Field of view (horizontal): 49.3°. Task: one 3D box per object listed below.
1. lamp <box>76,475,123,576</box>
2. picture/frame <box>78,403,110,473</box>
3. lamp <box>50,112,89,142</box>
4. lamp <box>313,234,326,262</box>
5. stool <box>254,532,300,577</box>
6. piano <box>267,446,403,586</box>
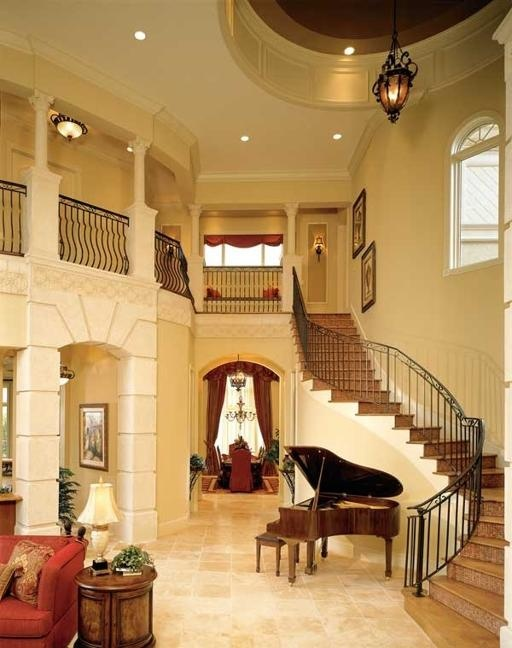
[{"bbox_3d":[-1.203,1.561,4.296,0.319,0.637,0.323,-14,-19,30],"label":"lamp"},{"bbox_3d":[-2.512,1.783,8.680,0.088,1.308,1.073,1,-2,-38],"label":"picture/frame"},{"bbox_3d":[-2.737,-2.881,8.090,0.467,0.388,0.427,-1,-12,1],"label":"lamp"},{"bbox_3d":[1.464,-1.764,12.885,0.293,0.615,0.162,-2,-6,8],"label":"lamp"},{"bbox_3d":[0.224,2.481,6.203,0.475,0.483,0.394,-21,-30,19],"label":"stool"},{"bbox_3d":[0.876,2.124,6.406,1.409,1.444,1.213,2,-6,-6],"label":"piano"}]
